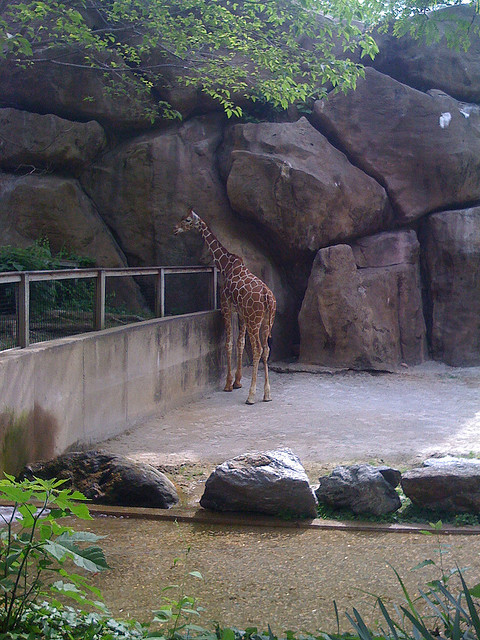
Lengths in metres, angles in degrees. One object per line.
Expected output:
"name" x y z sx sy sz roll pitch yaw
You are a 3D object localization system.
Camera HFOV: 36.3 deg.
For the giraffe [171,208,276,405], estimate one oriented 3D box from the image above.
"giraffe" -0.196 -0.243 10.671 1.323 2.772 2.547 1 -3 -3
